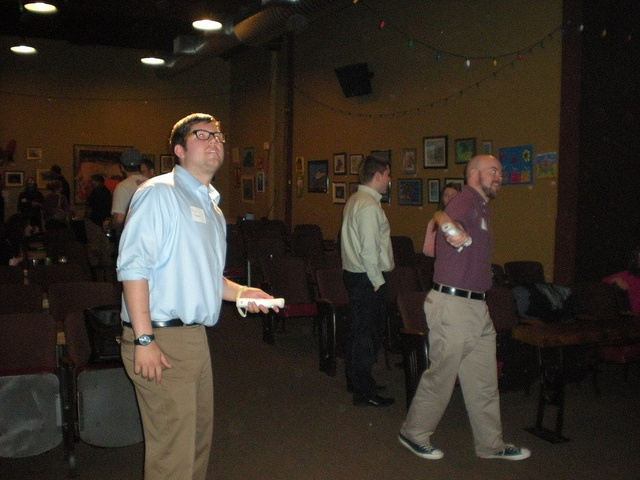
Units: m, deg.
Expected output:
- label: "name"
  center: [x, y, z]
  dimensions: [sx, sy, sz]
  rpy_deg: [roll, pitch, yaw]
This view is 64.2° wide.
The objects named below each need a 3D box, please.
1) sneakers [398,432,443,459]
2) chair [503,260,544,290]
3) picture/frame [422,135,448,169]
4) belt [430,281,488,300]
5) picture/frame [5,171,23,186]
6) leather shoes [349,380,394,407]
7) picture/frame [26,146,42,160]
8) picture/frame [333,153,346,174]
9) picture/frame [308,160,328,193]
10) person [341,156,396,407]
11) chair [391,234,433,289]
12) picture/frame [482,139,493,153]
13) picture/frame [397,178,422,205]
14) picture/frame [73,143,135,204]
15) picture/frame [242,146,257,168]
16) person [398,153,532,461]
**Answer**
- label: "sneakers"
  center: [0.719, 1.475, 3.650]
  dimensions: [0.318, 0.151, 0.129]
  rpy_deg: [7, 10, 30]
- label: "chair"
  center: [2.373, 0.369, 5.878]
  dimensions: [0.362, 0.504, 0.403]
  rpy_deg: [0, -9, -10]
- label: "picture/frame"
  center: [1.780, -1.344, 7.806]
  dimensions: [0.044, 0.614, 0.546]
  rpy_deg: [4, -2, -37]
- label: "belt"
  center: [0.935, 0.351, 3.426]
  dimensions: [0.345, 0.108, 0.116]
  rpy_deg: [2, 7, 12]
- label: "picture/frame"
  center: [-7.376, -1.485, 12.216]
  dimensions: [0.329, 0.342, 0.027]
  rpy_deg: [-1, 8, -11]
- label: "leather shoes"
  center: [0.461, 1.330, 4.447]
  dimensions: [0.446, 0.215, 0.149]
  rpy_deg: [-2, 1, -11]
- label: "picture/frame"
  center: [-6.955, -2.104, 12.311]
  dimensions: [0.295, 0.293, 0.029]
  rpy_deg: [4, -5, -26]
- label: "picture/frame"
  center: [0.383, -1.492, 9.885]
  dimensions: [0.034, 0.475, 0.424]
  rpy_deg: [0, 1, -32]
- label: "picture/frame"
  center: [-0.032, -1.308, 10.509]
  dimensions: [0.068, 0.722, 0.693]
  rpy_deg: [1, 0, -32]
- label: "person"
  center: [0.411, 0.357, 4.314]
  dimensions: [0.463, 2.123, 0.389]
  rpy_deg: [0, 7, 2]
- label: "chair"
  center: [1.220, 0.263, 6.633]
  dimensions: [0.591, 0.827, 0.582]
  rpy_deg: [0, -4, -12]
- label: "picture/frame"
  center: [2.315, -1.300, 7.048]
  dimensions: [0.026, 0.276, 0.189]
  rpy_deg: [2, -3, -27]
- label: "picture/frame"
  center: [1.468, -0.785, 8.274]
  dimensions: [0.042, 0.433, 0.428]
  rpy_deg: [2, 0, -42]
- label: "picture/frame"
  center: [-5.494, -1.657, 12.872]
  dimensions: [1.373, 1.469, 0.031]
  rpy_deg: [0, -2, -5]
- label: "picture/frame"
  center: [-1.795, -2.107, 12.926]
  dimensions: [0.078, 0.582, 0.568]
  rpy_deg: [-4, 9, -32]
- label: "person"
  center: [0.968, 0.488, 3.481]
  dimensions: [0.684, 2.115, 0.453]
  rpy_deg: [-2, 7, -21]
